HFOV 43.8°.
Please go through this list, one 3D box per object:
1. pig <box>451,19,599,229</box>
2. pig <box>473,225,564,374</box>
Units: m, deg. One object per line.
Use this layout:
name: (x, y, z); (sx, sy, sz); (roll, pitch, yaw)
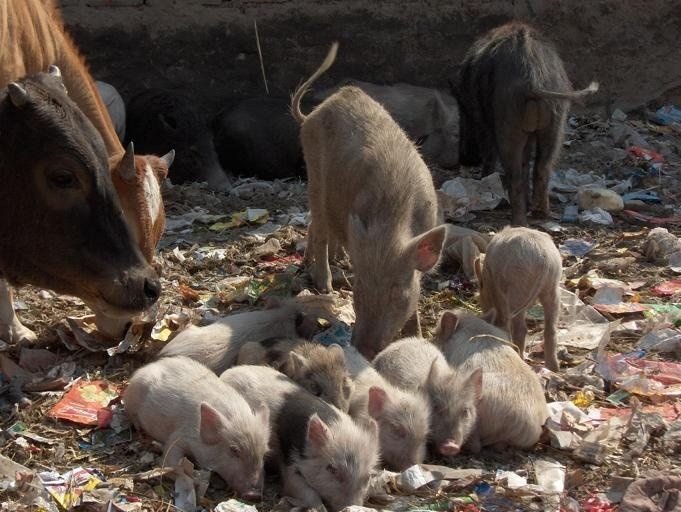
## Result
pig: (1.775, -1.644, 8.835); (1.646, 2.437, 1.550); (4, 18, 0)
pig: (1.462, 0.268, 6.322); (0.765, 0.956, 0.761); (4, 13, 14)
